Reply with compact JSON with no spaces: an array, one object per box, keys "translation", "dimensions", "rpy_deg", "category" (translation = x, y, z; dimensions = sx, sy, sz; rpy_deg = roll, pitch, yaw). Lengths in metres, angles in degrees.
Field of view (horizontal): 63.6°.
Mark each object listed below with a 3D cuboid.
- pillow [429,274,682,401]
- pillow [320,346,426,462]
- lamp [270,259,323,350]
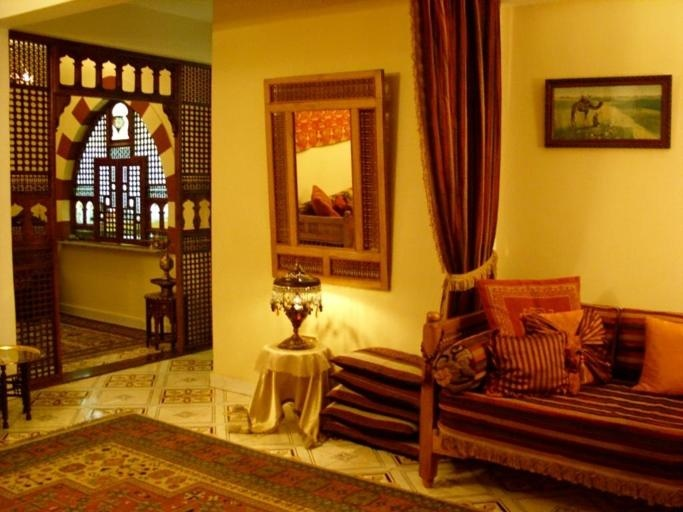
[{"translation":[1.249,0.546,3.527],"dimensions":[1.064,0.920,0.404],"rpy_deg":[4,-29,0],"category":"pillow"},{"translation":[0.231,1.012,3.932],"dimensions":[0.662,0.350,0.707],"rpy_deg":[10,14,24],"category":"pillow"},{"translation":[-0.371,0.391,4.523],"dimensions":[0.401,0.653,0.484],"rpy_deg":[0,6,-3],"category":"lamp"}]
